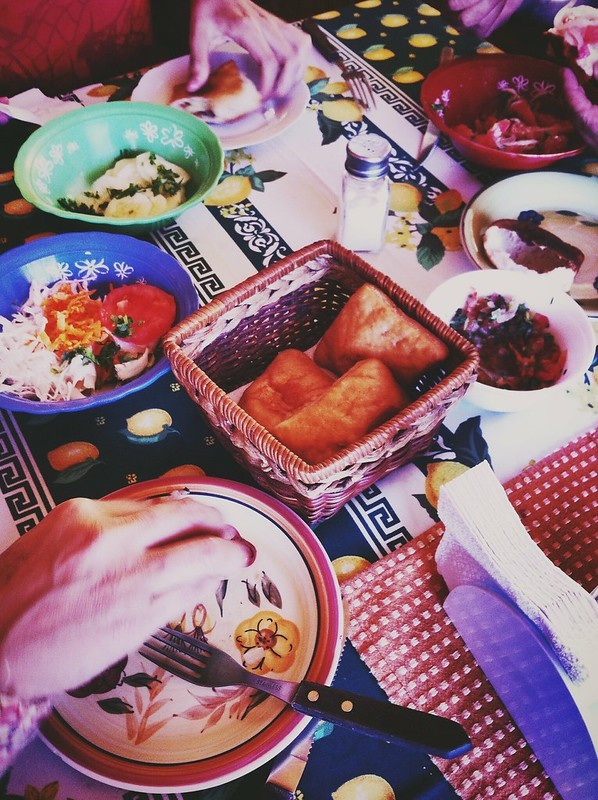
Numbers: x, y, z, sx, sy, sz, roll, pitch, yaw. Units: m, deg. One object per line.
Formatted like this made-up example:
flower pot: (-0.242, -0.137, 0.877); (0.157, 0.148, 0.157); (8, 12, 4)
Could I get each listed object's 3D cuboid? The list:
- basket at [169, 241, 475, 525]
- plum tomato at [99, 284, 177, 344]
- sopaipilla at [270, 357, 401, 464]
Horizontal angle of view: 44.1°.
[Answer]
basket: (0.021, -0.008, 0.712); (0.265, 0.143, 0.171); (37, 72, 18)
plum tomato: (-0.173, -0.094, 0.795); (0.074, 0.029, 0.070); (34, 70, 7)
sopaipilla: (0.034, 0.005, 0.747); (0.157, 0.078, 0.119); (-16, 31, -26)
